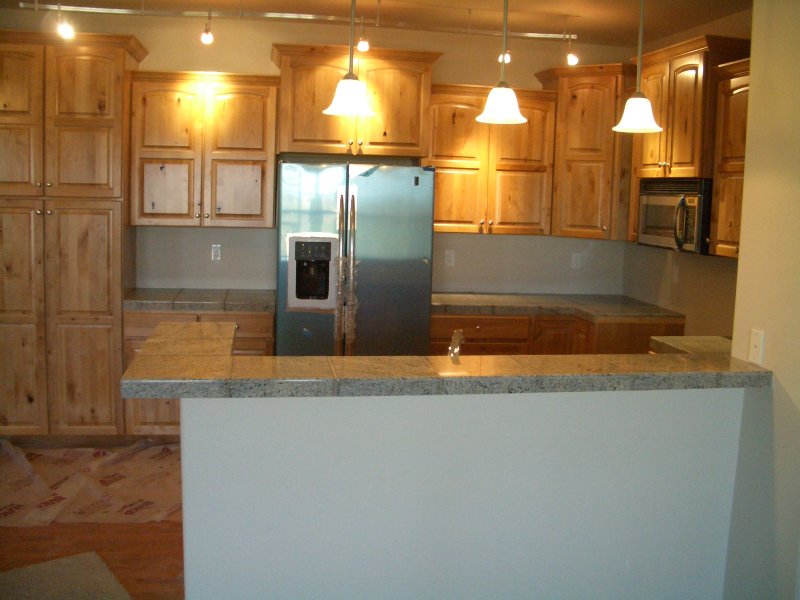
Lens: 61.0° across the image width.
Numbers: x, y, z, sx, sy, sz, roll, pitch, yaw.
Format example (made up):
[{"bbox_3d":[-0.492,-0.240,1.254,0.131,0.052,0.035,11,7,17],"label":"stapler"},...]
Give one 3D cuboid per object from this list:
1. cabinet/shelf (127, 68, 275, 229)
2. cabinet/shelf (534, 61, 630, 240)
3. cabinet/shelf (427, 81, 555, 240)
[{"bbox_3d":[-1.535,-1.171,5.157,1.217,1.145,0.468,1,4,-2],"label":"cabinet/shelf"},{"bbox_3d":[1.495,-1.152,5.327,0.683,1.314,0.297,7,13,20],"label":"cabinet/shelf"},{"bbox_3d":[0.694,-1.090,5.277,1.306,1.241,0.503,1,6,-2],"label":"cabinet/shelf"}]
